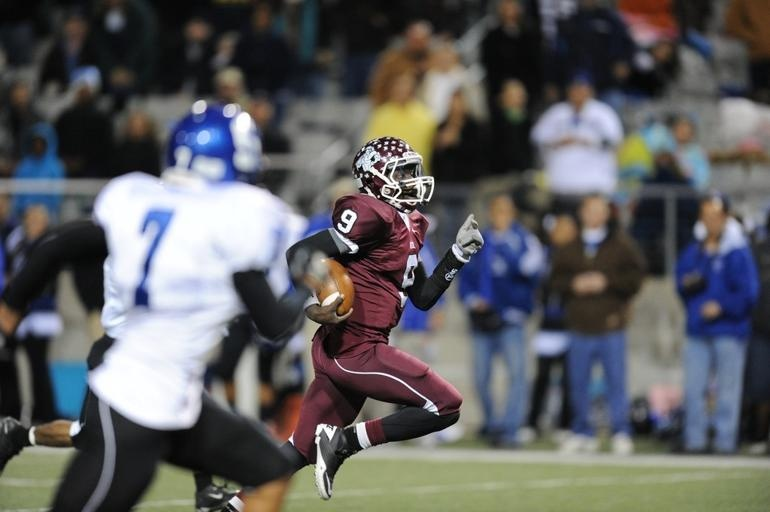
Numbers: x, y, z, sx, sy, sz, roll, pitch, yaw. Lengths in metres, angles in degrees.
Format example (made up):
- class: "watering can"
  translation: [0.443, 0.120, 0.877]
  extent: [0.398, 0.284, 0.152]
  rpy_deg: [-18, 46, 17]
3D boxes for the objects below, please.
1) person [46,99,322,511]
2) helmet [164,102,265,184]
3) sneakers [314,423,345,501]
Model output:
- class: "person"
  translation: [-1.347, 0.083, 8.384]
  extent: [1.280, 2.168, 0.514]
  rpy_deg: [-1, 9, -13]
- class: "helmet"
  translation: [-1.144, -0.779, 8.475]
  extent: [0.606, 0.546, 0.473]
  rpy_deg: [-14, 16, -28]
- class: "sneakers"
  translation: [-0.427, 1.518, 9.389]
  extent: [0.294, 0.611, 0.194]
  rpy_deg: [-1, 2, 7]
